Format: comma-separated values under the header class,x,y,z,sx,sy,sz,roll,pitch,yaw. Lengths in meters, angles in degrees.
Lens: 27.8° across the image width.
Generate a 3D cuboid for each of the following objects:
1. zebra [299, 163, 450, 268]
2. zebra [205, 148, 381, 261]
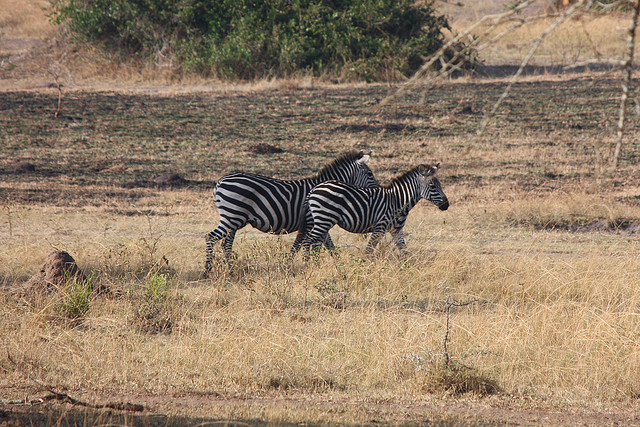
class,x,y,z,sx,sy,sz,roll,pitch,yaw
zebra,1.505,0.113,36.187,3.957,3.116,1.159,1,11,7
zebra,-0.576,-0.094,36.646,4.862,3.532,1.399,0,-4,-11
